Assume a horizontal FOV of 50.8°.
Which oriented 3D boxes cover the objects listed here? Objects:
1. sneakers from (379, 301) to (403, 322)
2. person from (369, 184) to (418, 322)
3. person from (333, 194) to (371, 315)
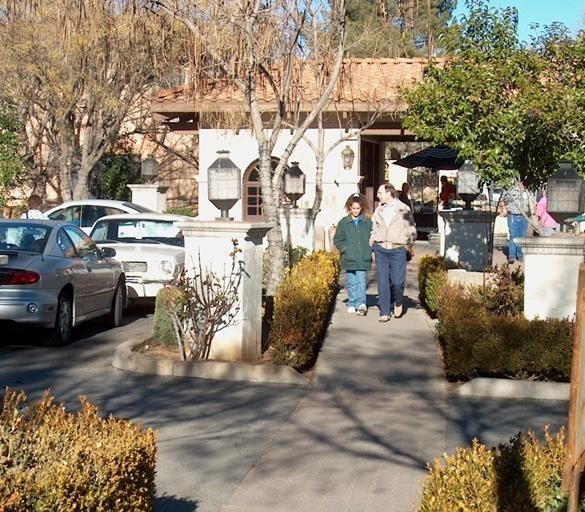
[{"bbox_3d":[1.720,0.959,10.655,0.186,0.322,0.678,0,2,24],"label":"sneakers"},{"bbox_3d":[1.687,-0.050,10.522,0.707,2.307,0.550,0,2,-2],"label":"person"},{"bbox_3d":[1.088,-0.024,10.951,0.651,2.151,0.767,0,2,6],"label":"person"}]
